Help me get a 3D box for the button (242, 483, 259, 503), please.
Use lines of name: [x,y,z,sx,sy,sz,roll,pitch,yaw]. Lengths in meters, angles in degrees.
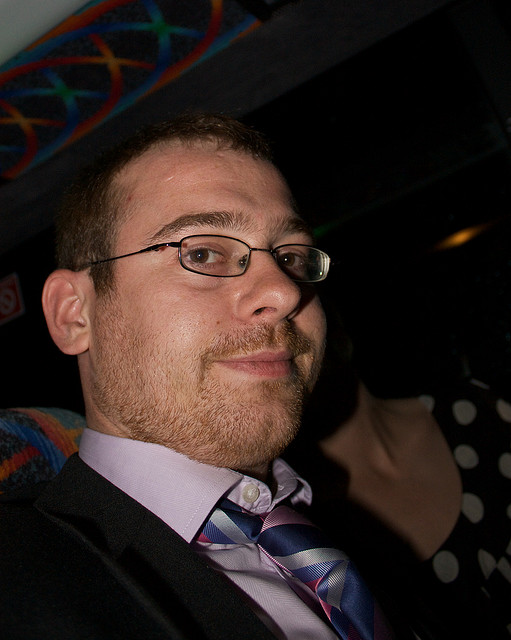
button: [-0.013,0.372,1.293,0.050,0.006,0.040,3,81,-5]
